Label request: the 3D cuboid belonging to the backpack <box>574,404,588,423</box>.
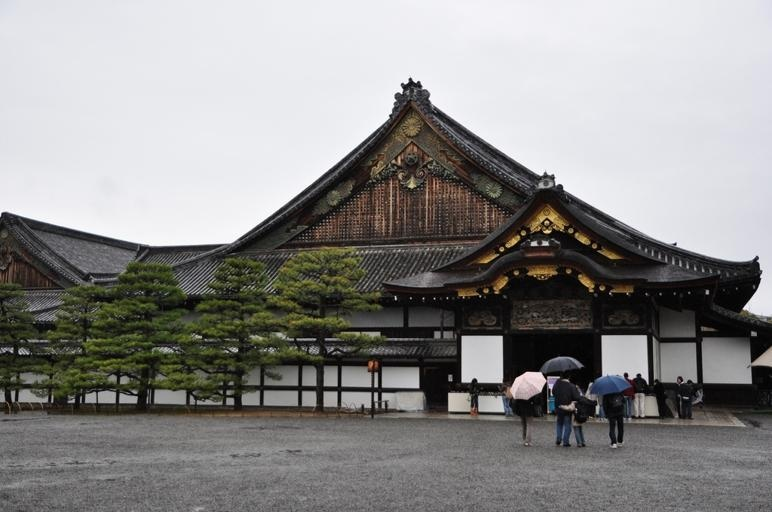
[{"bbox_3d":[5.762,4.682,27.588,0.376,0.594,0.347,-1,-12,8],"label":"backpack"}]
